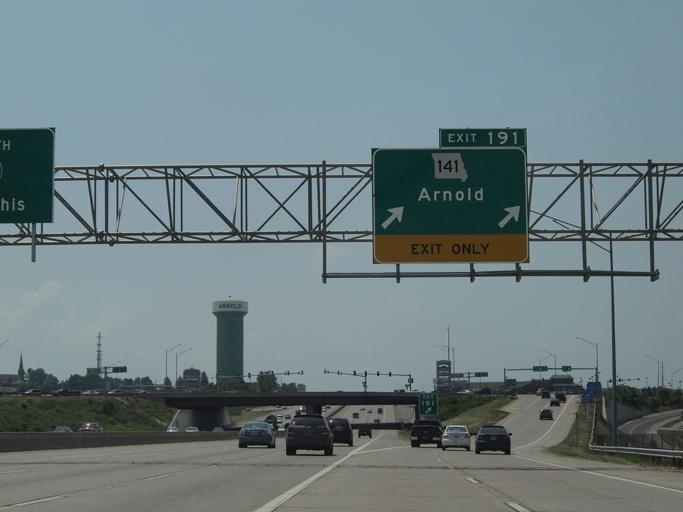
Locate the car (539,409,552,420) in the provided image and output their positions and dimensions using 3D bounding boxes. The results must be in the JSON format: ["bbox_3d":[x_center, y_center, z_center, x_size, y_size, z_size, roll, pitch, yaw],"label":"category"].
[{"bbox_3d":[23.149,17.875,163.384,1.409,1.196,1.849,0,-9,5],"label":"car"}]
